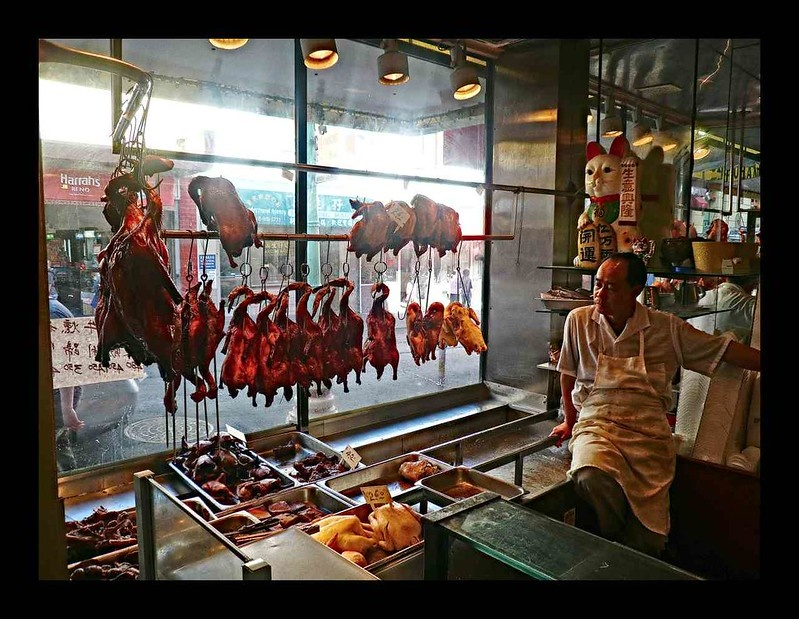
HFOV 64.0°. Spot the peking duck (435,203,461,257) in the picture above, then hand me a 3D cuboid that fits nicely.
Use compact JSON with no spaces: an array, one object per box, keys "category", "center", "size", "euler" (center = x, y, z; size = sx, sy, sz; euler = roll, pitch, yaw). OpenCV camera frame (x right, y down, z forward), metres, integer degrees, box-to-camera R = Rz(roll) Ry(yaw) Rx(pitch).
[{"category":"peking duck","center":[0.281,-0.470,3.816],"size":[0.207,0.269,0.104],"euler":[-2,9,-15]}]

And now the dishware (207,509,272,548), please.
[{"category":"dishware","center":[-0.691,0.925,2.736],"size":[0.235,0.098,0.277],"euler":[1,2,-37]}]

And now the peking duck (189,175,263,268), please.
[{"category":"peking duck","center":[-0.805,-0.411,2.971],"size":[0.311,0.417,0.153],"euler":[-3,8,-14]}]

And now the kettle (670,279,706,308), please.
[{"category":"kettle","center":[1.942,-0.110,4.293],"size":[0.234,0.225,0.149],"euler":[-6,-12,21]}]

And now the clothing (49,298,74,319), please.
[{"category":"clothing","center":[-1.700,-0.012,3.216],"size":[0.079,0.094,0.124],"euler":[13,-2,12]}]

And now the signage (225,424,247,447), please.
[{"category":"signage","center":[-0.932,0.728,3.749],"size":[0.131,0.101,0.093],"euler":[39,14,25]}]

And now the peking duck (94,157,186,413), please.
[{"category":"peking duck","center":[-1.015,-0.134,2.464],"size":[0.315,0.842,0.242],"euler":[-5,9,-26]}]

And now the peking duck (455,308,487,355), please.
[{"category":"peking duck","center":[0.460,0.135,4.200],"size":[0.141,0.302,0.204],"euler":[-16,-3,-37]}]

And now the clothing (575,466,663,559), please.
[{"category":"clothing","center":[0.980,0.921,3.077],"size":[0.425,0.124,0.387],"euler":[-11,-5,-16]}]

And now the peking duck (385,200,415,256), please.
[{"category":"peking duck","center":[0.002,-0.462,3.575],"size":[0.187,0.248,0.079],"euler":[18,2,-41]}]

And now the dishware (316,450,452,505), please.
[{"category":"dishware","center":[-0.106,0.858,3.446],"size":[0.427,0.059,0.267],"euler":[-9,13,-36]}]

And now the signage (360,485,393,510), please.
[{"category":"signage","center":[-0.103,0.829,2.836],"size":[0.186,0.130,0.025],"euler":[-1,-16,3]}]

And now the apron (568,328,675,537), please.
[{"category":"apron","center":[1.166,0.637,3.241],"size":[0.542,0.939,0.310],"euler":[6,-21,20]}]

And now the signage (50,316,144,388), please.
[{"category":"signage","center":[-1.645,0.203,3.431],"size":[0.043,0.357,0.514],"euler":[-24,-13,27]}]

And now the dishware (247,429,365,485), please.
[{"category":"dishware","center":[-0.544,0.842,3.702],"size":[0.306,0.072,0.512],"euler":[-4,13,-40]}]

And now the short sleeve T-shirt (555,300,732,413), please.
[{"category":"short sleeve T-shirt","center":[1.325,0.285,3.397],"size":[0.972,0.695,0.392],"euler":[4,23,33]}]

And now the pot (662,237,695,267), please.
[{"category":"pot","center":[1.490,-0.303,3.410],"size":[0.155,0.113,0.143],"euler":[2,-2,0]}]

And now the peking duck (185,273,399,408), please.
[{"category":"peking duck","center":[-0.548,0.144,3.283],"size":[1.281,0.641,0.281],"euler":[-8,10,-44]}]

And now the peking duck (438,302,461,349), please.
[{"category":"peking duck","center":[0.309,0.109,4.124],"size":[0.101,0.249,0.187],"euler":[11,10,41]}]

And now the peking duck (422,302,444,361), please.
[{"category":"peking duck","center":[0.211,0.121,4.009],"size":[0.111,0.371,0.195],"euler":[6,7,2]}]

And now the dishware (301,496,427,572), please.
[{"category":"dishware","center":[-0.128,0.870,2.640],"size":[0.340,0.104,0.297],"euler":[1,3,37]}]

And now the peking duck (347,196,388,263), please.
[{"category":"peking duck","center":[-0.164,-0.441,3.476],"size":[0.234,0.307,0.109],"euler":[11,1,-28]}]

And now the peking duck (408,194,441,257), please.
[{"category":"peking duck","center":[0.145,-0.490,3.669],"size":[0.120,0.308,0.230],"euler":[8,1,30]}]
